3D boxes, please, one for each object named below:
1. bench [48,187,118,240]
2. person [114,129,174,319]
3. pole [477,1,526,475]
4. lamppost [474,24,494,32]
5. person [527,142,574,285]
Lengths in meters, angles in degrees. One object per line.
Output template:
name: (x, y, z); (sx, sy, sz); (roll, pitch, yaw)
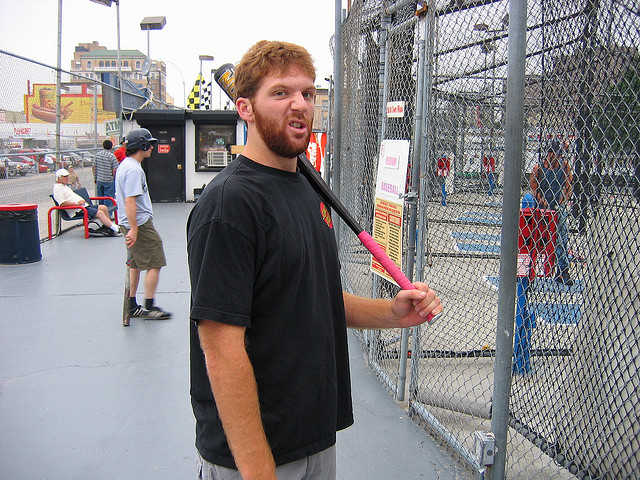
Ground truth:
bench: (-5.341, -0.611, 12.216); (1.022, 0.999, 2.001); (-1, 12, -3)
person: (-2.195, -0.165, 6.602); (0.609, 2.268, 0.667); (-2, 5, -41)
pole: (1.025, 0.054, 3.056); (0.157, 2.632, 0.289); (4, 11, 25)
lamppost: (1.055, -1.392, 3.590); (0.083, 0.026, 0.064); (-1, 5, -17)
person: (1.630, -0.184, 3.850); (0.312, 1.009, 0.865); (4, 11, 21)
